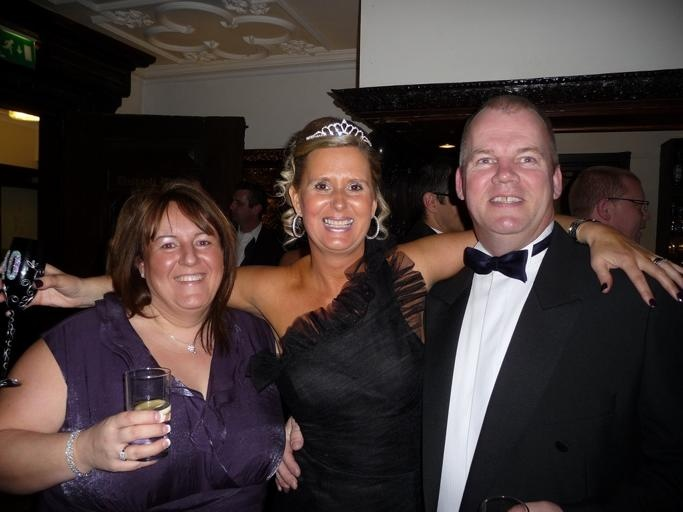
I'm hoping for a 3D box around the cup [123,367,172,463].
[{"bbox_3d":[-0.827,0.663,2.459,0.198,0.413,0.207,3,13,-1],"label":"cup"}]

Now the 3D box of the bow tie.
[{"bbox_3d":[0.742,0.041,2.677,0.312,0.159,0.172,3,5,22],"label":"bow tie"}]
